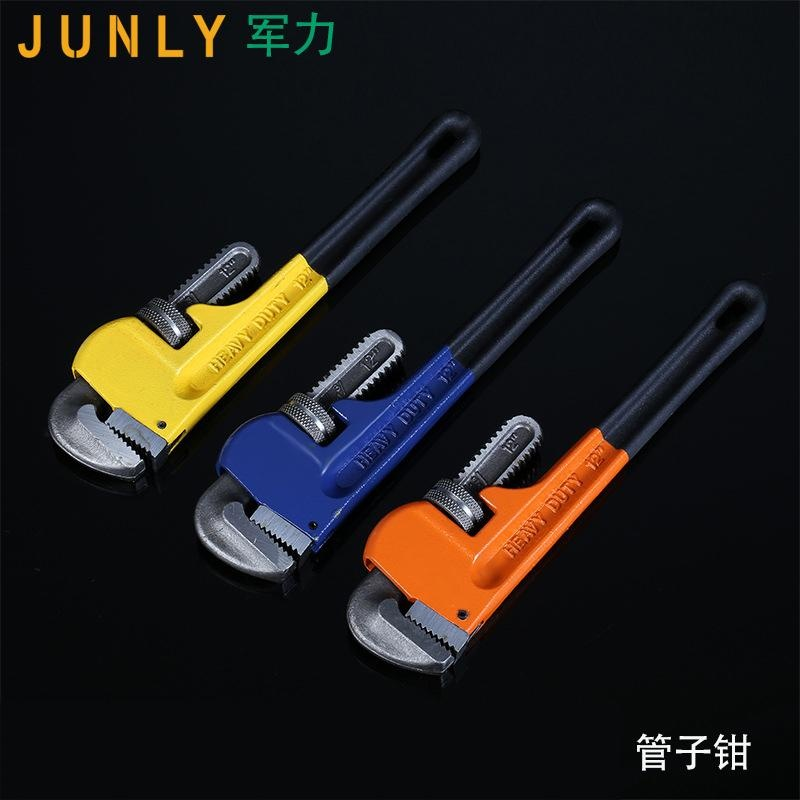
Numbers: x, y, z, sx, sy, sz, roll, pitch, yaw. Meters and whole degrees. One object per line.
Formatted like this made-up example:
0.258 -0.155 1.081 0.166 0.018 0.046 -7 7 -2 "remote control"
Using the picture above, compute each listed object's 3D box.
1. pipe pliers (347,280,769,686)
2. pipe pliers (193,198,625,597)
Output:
0.405 0.113 2.137 0.387 0.158 1.481 30 68 23 "pipe pliers"
0.054 -0.046 2.160 1.247 0.206 0.325 -38 58 -21 "pipe pliers"
